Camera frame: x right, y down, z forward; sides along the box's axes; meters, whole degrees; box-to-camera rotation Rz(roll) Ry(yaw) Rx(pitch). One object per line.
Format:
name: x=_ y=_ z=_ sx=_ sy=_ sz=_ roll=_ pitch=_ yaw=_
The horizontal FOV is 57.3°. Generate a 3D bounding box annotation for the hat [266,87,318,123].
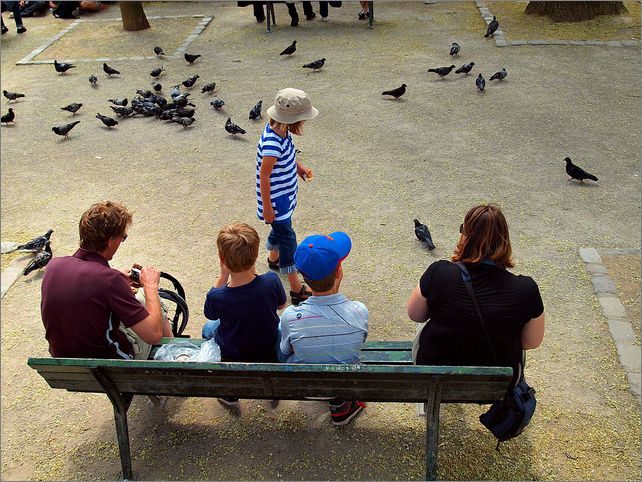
hat: x=-0.285 y=-1.447 z=6.090 sx=0.577 sy=0.239 sz=0.470 roll=-12 pitch=45 yaw=-20

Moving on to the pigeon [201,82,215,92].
pigeon: x=-2.261 y=-3.078 z=11.797 sx=0.270 sy=0.203 sz=0.439 roll=-13 pitch=30 yaw=-9

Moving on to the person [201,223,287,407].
person: x=-0.682 y=0.534 z=5.200 sx=0.760 sy=1.243 sz=0.698 roll=2 pitch=18 yaw=-10

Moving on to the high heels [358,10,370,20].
high heels: x=1.196 y=-6.224 z=16.201 sx=0.329 sy=0.124 sz=0.145 roll=1 pitch=16 yaw=-18

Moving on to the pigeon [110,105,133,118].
pigeon: x=-3.652 y=-2.426 z=11.052 sx=0.535 sy=0.153 sz=0.268 roll=1 pitch=2 yaw=-45

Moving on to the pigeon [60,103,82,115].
pigeon: x=-4.768 y=-2.541 z=11.254 sx=0.371 sy=0.205 sz=0.442 roll=-18 pitch=32 yaw=-19

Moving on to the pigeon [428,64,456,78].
pigeon: x=2.407 y=-3.447 z=11.868 sx=0.470 sy=0.261 sz=0.615 roll=-2 pitch=30 yaw=9

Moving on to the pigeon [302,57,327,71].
pigeon: x=-0.154 y=-3.765 z=12.531 sx=0.489 sy=0.244 sz=0.688 roll=-8 pitch=29 yaw=-2

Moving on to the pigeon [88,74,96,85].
pigeon: x=-4.874 y=-3.450 z=12.625 sx=0.159 sy=0.260 sz=0.117 roll=-8 pitch=-8 yaw=13

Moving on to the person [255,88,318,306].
person: x=-0.440 y=-0.566 z=6.660 sx=1.177 sy=2.105 sz=0.703 roll=-4 pitch=11 yaw=-20

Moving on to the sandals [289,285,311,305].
sandals: x=-0.236 y=0.614 z=6.623 sx=0.316 sy=0.123 sz=0.140 roll=-8 pitch=22 yaw=-11

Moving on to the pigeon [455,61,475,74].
pigeon: x=2.897 y=-3.501 z=11.925 sx=0.349 sy=0.234 sz=0.421 roll=-1 pitch=30 yaw=11

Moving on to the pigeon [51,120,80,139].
pigeon: x=-4.510 y=-1.979 z=10.374 sx=0.402 sy=0.265 sz=0.535 roll=-20 pitch=32 yaw=-21

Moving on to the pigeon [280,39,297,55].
pigeon: x=-0.782 y=-4.435 z=13.545 sx=0.388 sy=0.306 sz=0.591 roll=-9 pitch=30 yaw=-3

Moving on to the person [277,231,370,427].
person: x=0.053 y=0.636 z=5.227 sx=0.730 sy=1.197 sz=0.672 roll=7 pitch=20 yaw=-15

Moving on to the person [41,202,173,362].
person: x=-1.923 y=0.445 z=5.276 sx=0.897 sy=1.571 sz=0.734 roll=-2 pitch=11 yaw=-12

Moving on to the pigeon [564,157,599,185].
pigeon: x=3.634 y=-0.986 z=8.220 sx=0.451 sy=0.323 sz=0.339 roll=6 pitch=33 yaw=22

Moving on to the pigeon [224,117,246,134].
pigeon: x=-1.452 y=-1.940 z=9.955 sx=0.396 sy=0.286 sz=0.217 roll=8 pitch=32 yaw=14

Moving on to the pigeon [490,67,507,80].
pigeon: x=3.432 y=-3.200 z=11.297 sx=0.354 sy=0.187 sz=0.190 roll=-19 pitch=31 yaw=-38

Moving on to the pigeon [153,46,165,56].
pigeon: x=-3.910 y=-4.636 z=14.234 sx=0.129 sy=0.238 sz=0.384 roll=-26 pitch=33 yaw=5

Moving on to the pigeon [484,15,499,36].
pigeon: x=4.062 y=-5.152 z=14.059 sx=0.313 sy=0.391 sz=0.786 roll=2 pitch=31 yaw=15

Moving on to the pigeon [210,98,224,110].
pigeon: x=-1.909 y=-2.584 z=11.013 sx=0.303 sy=0.189 sz=0.145 roll=11 pitch=56 yaw=7

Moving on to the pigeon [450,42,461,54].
pigeon: x=2.891 y=-4.178 z=12.761 sx=0.176 sy=0.263 sz=0.453 roll=0 pitch=31 yaw=14

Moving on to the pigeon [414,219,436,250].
pigeon: x=1.254 y=-0.094 z=7.258 sx=0.156 sy=0.232 sz=0.391 roll=-31 pitch=40 yaw=7

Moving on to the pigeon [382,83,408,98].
pigeon: x=1.363 y=-2.825 z=11.012 sx=0.507 sy=0.299 sz=0.375 roll=8 pitch=34 yaw=25

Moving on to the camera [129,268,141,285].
camera: x=-1.692 y=0.326 z=5.385 sx=0.114 sy=0.097 sz=0.183 roll=16 pitch=6 yaw=-5
